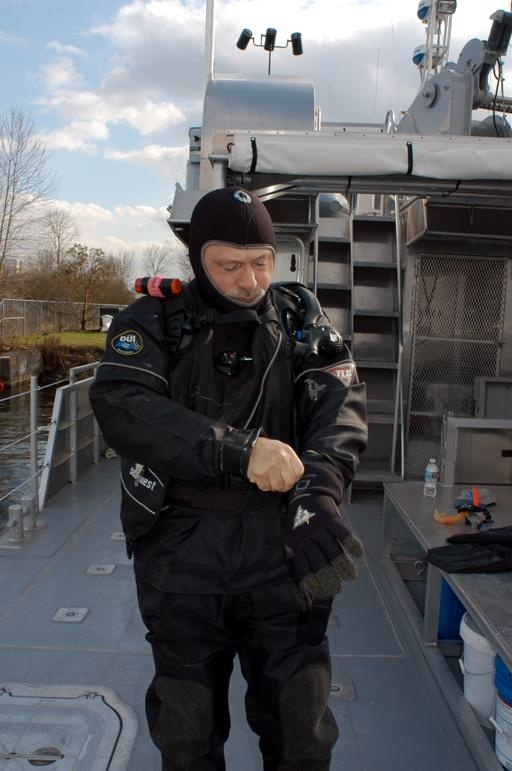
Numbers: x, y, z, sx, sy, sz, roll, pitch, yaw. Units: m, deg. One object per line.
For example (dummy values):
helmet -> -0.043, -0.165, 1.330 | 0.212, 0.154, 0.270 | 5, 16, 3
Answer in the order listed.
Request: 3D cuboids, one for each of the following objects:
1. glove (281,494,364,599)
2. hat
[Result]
glove -> 0.138, 0.303, 1.224 | 0.151, 0.198, 0.055 | -26, -11, 19
hat -> -0.087, -0.356, 1.545 | 0.231, 0.319, 0.296 | -8, 30, -15
